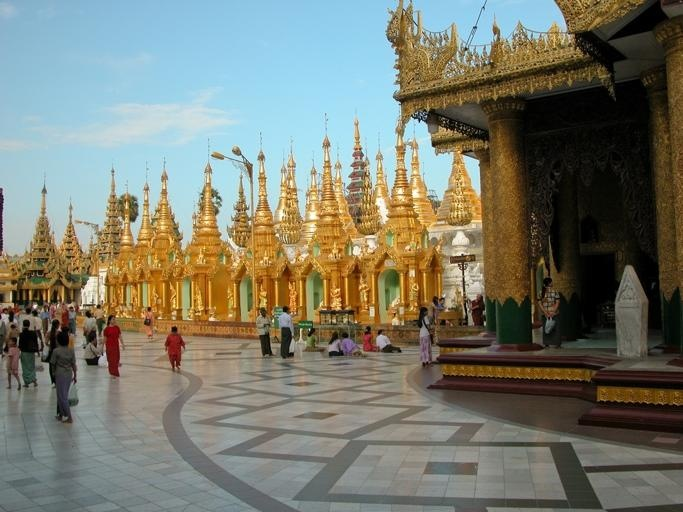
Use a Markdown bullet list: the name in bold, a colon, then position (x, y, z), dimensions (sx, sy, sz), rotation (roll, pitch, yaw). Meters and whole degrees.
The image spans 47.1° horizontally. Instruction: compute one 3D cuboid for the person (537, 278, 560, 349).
- **person**: position (3.815, 1.056, 14.463), dimensions (0.336, 1.296, 0.649), rotation (-3, -4, 14)
